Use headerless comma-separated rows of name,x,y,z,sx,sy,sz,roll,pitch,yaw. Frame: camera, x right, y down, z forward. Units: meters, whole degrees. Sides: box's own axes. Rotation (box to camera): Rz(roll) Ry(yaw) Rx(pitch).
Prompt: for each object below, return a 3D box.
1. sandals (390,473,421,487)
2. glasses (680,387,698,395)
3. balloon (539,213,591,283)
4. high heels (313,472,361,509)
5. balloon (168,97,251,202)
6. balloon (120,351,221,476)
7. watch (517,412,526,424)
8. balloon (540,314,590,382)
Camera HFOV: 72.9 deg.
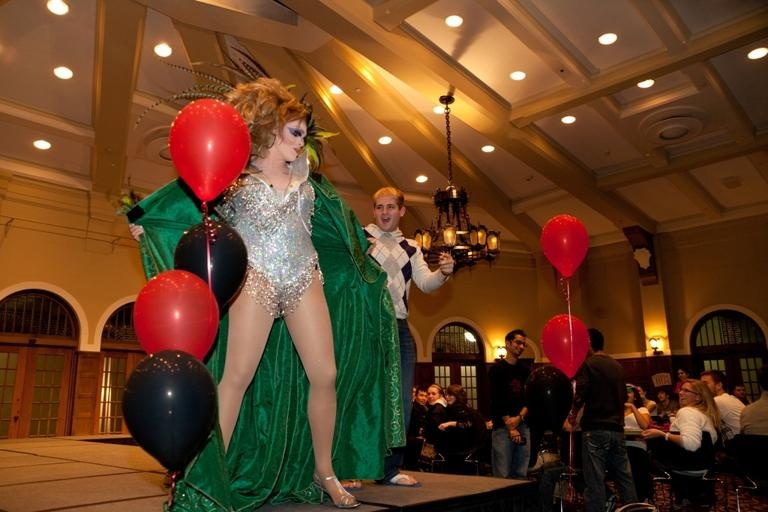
sandals,0.139,1.538,3.618,0.094,0.055,0.123,12,-8,-23
glasses,3.320,1.470,5.698,0.128,0.061,0.035,-12,-20,31
balloon,1.763,-0.125,5.100,0.403,0.688,0.335,-7,-18,17
high heels,-0.289,1.393,3.104,0.276,0.189,0.149,-16,-22,38
balloon,-1.045,-0.620,3.133,0.503,0.651,0.513,1,-9,-9
balloon,-1.111,0.812,2.759,0.500,0.653,0.521,2,2,-7
watch,1.666,1.958,6.315,0.068,0.107,0.099,5,-6,-23
balloon,1.757,0.862,5.053,0.407,0.605,0.348,8,-19,-26
